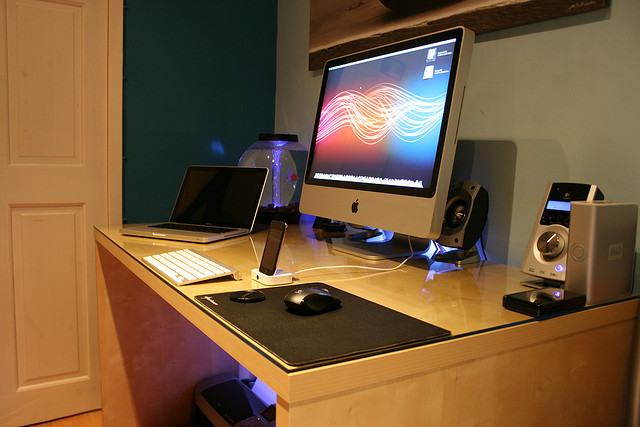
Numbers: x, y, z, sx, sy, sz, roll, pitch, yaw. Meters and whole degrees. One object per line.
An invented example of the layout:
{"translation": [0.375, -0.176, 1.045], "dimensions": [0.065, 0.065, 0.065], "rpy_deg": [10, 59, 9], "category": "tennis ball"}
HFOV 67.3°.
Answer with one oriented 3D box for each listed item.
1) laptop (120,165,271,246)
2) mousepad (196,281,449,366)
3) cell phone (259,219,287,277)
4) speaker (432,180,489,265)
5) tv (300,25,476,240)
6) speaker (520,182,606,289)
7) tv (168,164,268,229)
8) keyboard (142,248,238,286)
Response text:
{"translation": [-0.516, -0.052, 2.044], "dimensions": [0.435, 0.296, 0.495], "rpy_deg": [6, 7, 37], "category": "laptop"}
{"translation": [-0.019, 0.264, 1.241], "dimensions": [0.596, 0.120, 0.341], "rpy_deg": [6, 7, 41], "category": "mousepad"}
{"translation": [-0.146, 0.121, 1.451], "dimensions": [0.013, 0.132, 0.077], "rpy_deg": [13, 2, -40], "category": "cell phone"}
{"translation": [0.505, 0.033, 1.697], "dimensions": [0.163, 0.273, 0.171], "rpy_deg": [5, 3, -15], "category": "speaker"}
{"translation": [0.236, -0.250, 1.775], "dimensions": [0.258, 0.706, 0.719], "rpy_deg": [0, 7, -36], "category": "tv"}
{"translation": [0.745, 0.049, 1.508], "dimensions": [0.172, 0.349, 0.207], "rpy_deg": [-1, 7, -42], "category": "speaker"}
{"translation": [-0.435, -0.068, 2.111], "dimensions": [0.378, 0.298, 0.219], "rpy_deg": [10, 2, 24], "category": "tv"}
{"translation": [-0.428, 0.171, 1.540], "dimensions": [0.185, 0.054, 0.333], "rpy_deg": [-3, 7, -37], "category": "keyboard"}
